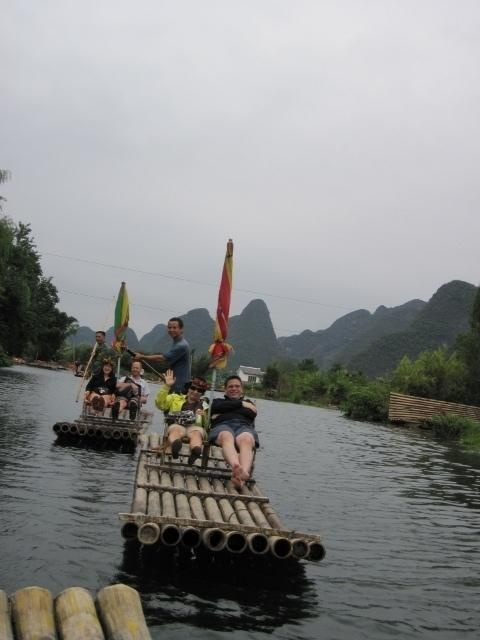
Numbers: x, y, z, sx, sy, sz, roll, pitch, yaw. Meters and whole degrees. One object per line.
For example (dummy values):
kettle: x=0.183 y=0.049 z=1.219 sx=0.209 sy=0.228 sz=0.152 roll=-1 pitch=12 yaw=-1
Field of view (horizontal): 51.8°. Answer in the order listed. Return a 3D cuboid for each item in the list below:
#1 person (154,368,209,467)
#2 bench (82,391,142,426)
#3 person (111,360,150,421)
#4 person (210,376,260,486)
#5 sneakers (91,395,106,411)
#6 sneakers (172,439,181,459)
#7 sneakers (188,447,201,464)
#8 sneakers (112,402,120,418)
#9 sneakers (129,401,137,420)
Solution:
person: x=-0.741 y=1.295 z=6.600 sx=0.678 sy=0.788 sz=1.287 roll=3 pitch=2 yaw=-6
bench: x=-3.197 y=2.181 z=12.313 sx=0.683 sy=0.839 sz=0.308 roll=2 pitch=25 yaw=3
person: x=-2.795 y=1.692 z=12.592 sx=0.788 sy=1.245 sz=1.609 roll=5 pitch=-3 yaw=-2
person: x=-0.045 y=1.311 z=6.538 sx=0.635 sy=0.967 sz=2.017 roll=4 pitch=1 yaw=-6
sneakers: x=-3.446 y=2.006 z=11.913 sx=0.224 sy=0.398 sz=0.162 roll=1 pitch=4 yaw=13
sneakers: x=-0.749 y=1.531 z=5.811 sx=0.092 sy=0.262 sz=0.111 roll=2 pitch=23 yaw=-4
sneakers: x=-0.546 y=1.603 z=5.945 sx=0.107 sy=0.318 sz=0.123 roll=15 pitch=46 yaw=-5
sneakers: x=-2.950 y=2.146 z=11.674 sx=0.164 sy=0.510 sz=0.217 roll=7 pitch=22 yaw=5
sneakers: x=-2.779 y=2.279 z=12.706 sx=0.172 sy=0.497 sz=0.210 roll=3 pitch=4 yaw=0
